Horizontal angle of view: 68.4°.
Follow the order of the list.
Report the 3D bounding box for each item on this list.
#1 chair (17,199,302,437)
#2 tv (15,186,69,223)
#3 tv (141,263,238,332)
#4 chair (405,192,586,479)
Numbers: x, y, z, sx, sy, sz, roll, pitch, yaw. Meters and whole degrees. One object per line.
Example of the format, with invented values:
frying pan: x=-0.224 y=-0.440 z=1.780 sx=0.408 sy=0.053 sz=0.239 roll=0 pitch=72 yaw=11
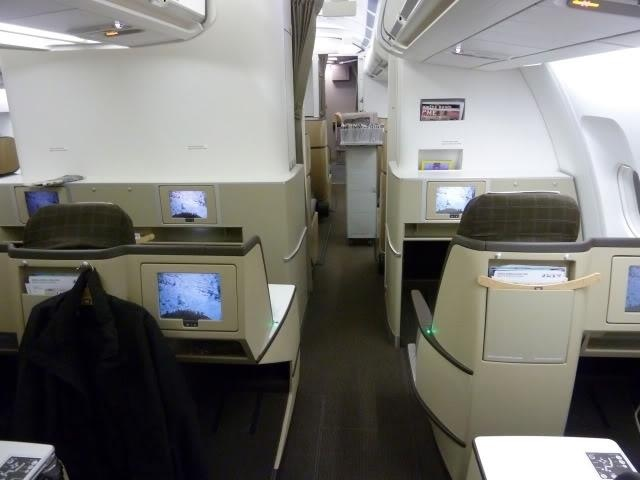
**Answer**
chair: x=-0.831 y=0.188 z=2.846 sx=1.469 sy=1.606 sz=0.948 roll=1 pitch=19 yaw=3
tv: x=-2.047 y=-0.285 z=3.485 sx=0.320 sy=0.252 sz=0.046 roll=2 pitch=14 yaw=4
tv: x=-0.654 y=0.269 z=2.422 sx=0.548 sy=0.433 sz=0.312 roll=1 pitch=5 yaw=4
chair: x=0.993 y=0.579 z=2.663 sx=0.850 sy=1.686 sz=0.445 roll=1 pitch=12 yaw=10
